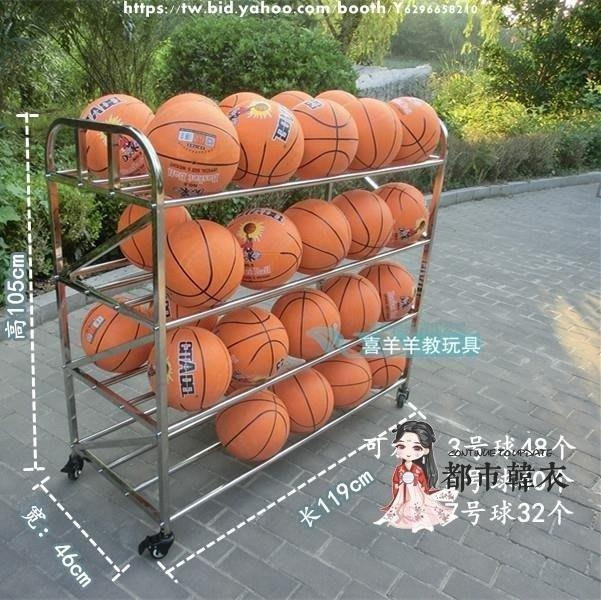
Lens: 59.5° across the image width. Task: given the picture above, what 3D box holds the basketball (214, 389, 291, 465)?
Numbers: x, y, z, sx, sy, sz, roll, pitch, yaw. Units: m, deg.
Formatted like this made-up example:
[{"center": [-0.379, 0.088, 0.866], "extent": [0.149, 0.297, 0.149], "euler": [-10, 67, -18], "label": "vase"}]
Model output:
[{"center": [-0.177, 0.602, 2.780], "extent": [0.451, 0.408, 0.386], "euler": [6, 20, 0], "label": "basketball"}]

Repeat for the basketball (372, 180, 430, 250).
[{"center": [0.640, -0.516, 3.209], "extent": [0.446, 0.385, 0.378], "euler": [0, 8, 13], "label": "basketball"}]

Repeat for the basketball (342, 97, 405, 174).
[{"center": [0.384, -0.829, 2.636], "extent": [0.407, 0.377, 0.350], "euler": [7, 25, 10], "label": "basketball"}]

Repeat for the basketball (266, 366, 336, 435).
[{"center": [0.068, 0.545, 3.014], "extent": [0.422, 0.385, 0.376], "euler": [-4, 8, 19], "label": "basketball"}]

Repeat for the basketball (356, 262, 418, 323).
[{"center": [0.567, -0.063, 3.450], "extent": [0.431, 0.388, 0.393], "euler": [-11, 14, -32], "label": "basketball"}]

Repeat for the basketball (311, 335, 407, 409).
[{"center": [0.417, 0.450, 3.291], "extent": [0.680, 0.268, 0.314], "euler": [-12, 28, -32], "label": "basketball"}]

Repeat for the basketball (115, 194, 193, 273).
[{"center": [-0.688, -0.286, 2.288], "extent": [0.363, 0.333, 0.319], "euler": [0, 17, -16], "label": "basketball"}]

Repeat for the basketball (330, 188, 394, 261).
[{"center": [0.356, -0.412, 2.798], "extent": [0.414, 0.378, 0.386], "euler": [7, 17, 26], "label": "basketball"}]

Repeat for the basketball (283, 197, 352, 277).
[{"center": [0.109, -0.309, 2.585], "extent": [0.417, 0.381, 0.387], "euler": [3, 14, 23], "label": "basketball"}]

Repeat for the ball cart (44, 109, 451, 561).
[{"center": [-0.306, 0.025, 2.897], "extent": [1.029, 1.627, 2.227], "euler": [12, 16, 34], "label": "ball cart"}]

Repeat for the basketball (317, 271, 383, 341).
[{"center": [0.296, 0.009, 3.011], "extent": [0.434, 0.391, 0.374], "euler": [-3, 15, -6], "label": "basketball"}]

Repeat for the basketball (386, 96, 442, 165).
[{"center": [0.634, -0.915, 2.875], "extent": [0.438, 0.386, 0.375], "euler": [3, 21, 6], "label": "basketball"}]

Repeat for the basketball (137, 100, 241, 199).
[{"center": [-0.430, -0.512, 2.066], "extent": [0.448, 0.384, 0.375], "euler": [-3, 12, -8], "label": "basketball"}]

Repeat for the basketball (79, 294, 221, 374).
[{"center": [-0.728, 0.158, 2.496], "extent": [0.426, 0.390, 0.370], "euler": [5, 13, -7], "label": "basketball"}]
